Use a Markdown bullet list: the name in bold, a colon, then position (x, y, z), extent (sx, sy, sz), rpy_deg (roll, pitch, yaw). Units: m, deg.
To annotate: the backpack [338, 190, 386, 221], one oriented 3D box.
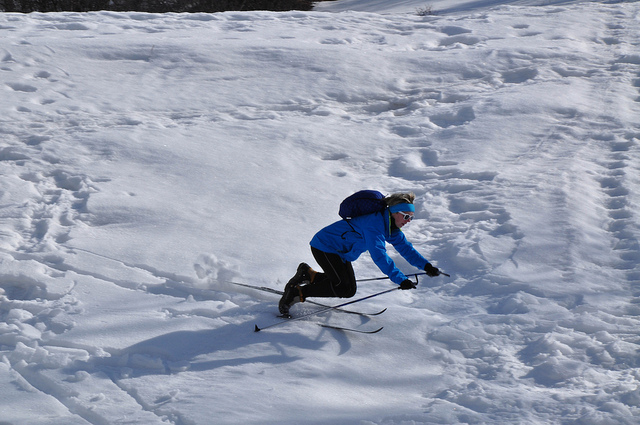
- **backpack**: position (0.989, -0.189, 18.153), extent (0.948, 0.298, 1.140), rpy_deg (-10, -5, 31)
